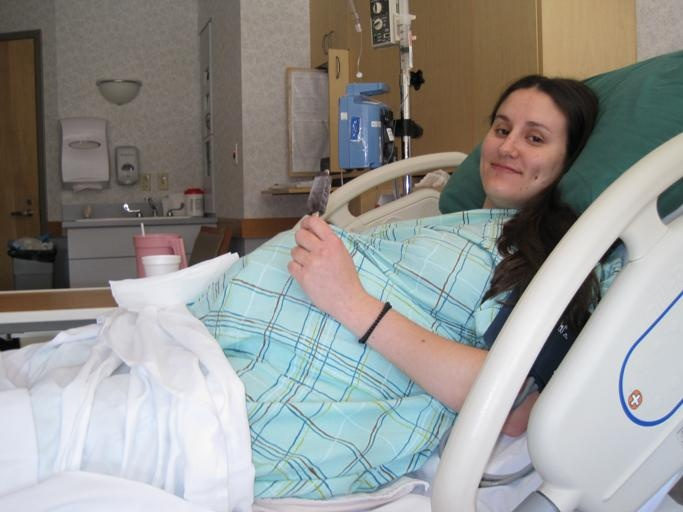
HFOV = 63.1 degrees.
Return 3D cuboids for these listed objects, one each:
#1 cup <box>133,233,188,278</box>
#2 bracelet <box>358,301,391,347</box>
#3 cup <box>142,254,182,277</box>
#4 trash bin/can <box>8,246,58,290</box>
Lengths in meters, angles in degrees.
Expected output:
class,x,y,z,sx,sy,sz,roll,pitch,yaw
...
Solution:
class,x,y,z,sx,sy,sz,roll,pitch,yaw
cup,-0.638,0.000,1.956,0.193,0.165,0.135,0,1,-16
bracelet,0.063,0.148,1.158,0.019,0.074,0.079,31,45,2
cup,-0.578,0.015,1.783,0.085,0.075,0.090,1,2,0
trash bin/can,-2.570,0.098,4.641,0.303,0.445,0.241,0,3,-15
